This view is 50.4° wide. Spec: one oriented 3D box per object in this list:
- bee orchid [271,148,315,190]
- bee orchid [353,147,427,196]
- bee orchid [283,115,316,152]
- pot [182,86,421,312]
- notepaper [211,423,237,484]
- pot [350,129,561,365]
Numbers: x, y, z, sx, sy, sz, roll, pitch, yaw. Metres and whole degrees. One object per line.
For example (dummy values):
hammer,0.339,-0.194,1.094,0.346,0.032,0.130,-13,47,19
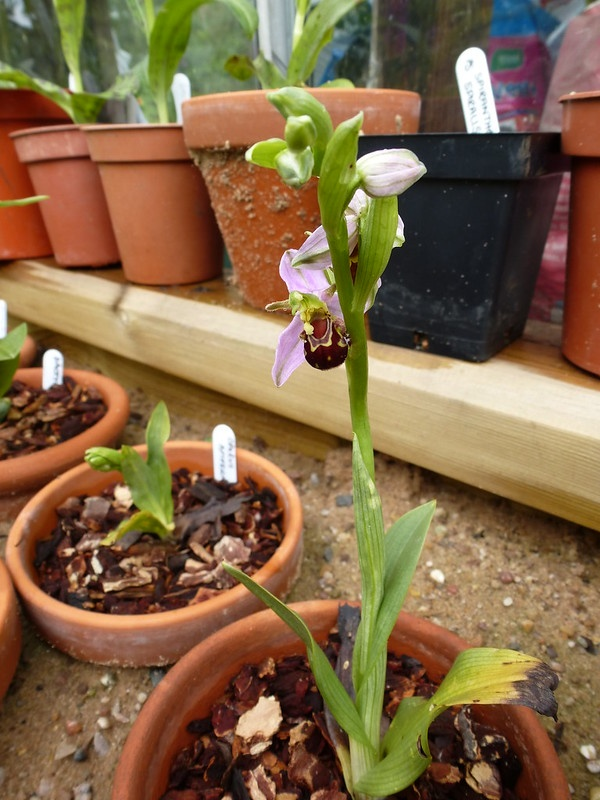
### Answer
bee orchid,-0.007,-0.144,0.402,0.020,0.032,0.015,-13,10,5
bee orchid,0.060,-0.153,0.428,0.042,0.030,0.015,-16,9,0
bee orchid,0.001,-0.165,0.397,0.020,0.024,0.028,-6,36,2
pot,-0.012,-0.408,1.186,0.377,0.315,0.376,0,28,0
notepaper,-0.126,0.090,1.084,0.042,0.178,0.008,7,49,2
pot,0.252,-0.259,1.030,0.285,0.321,0.254,20,27,41
